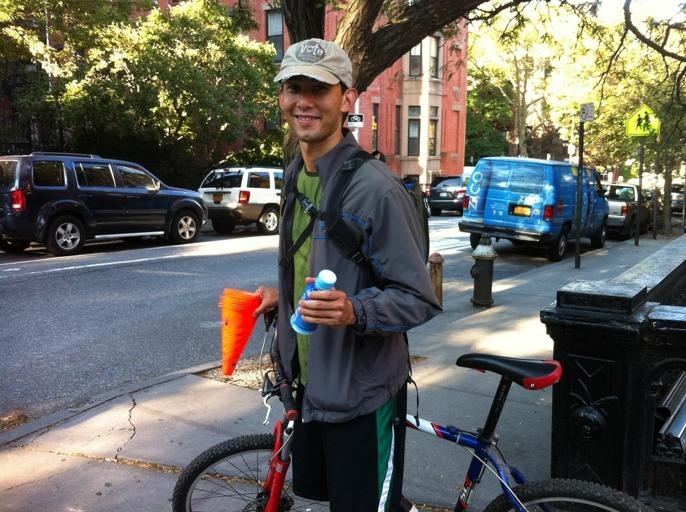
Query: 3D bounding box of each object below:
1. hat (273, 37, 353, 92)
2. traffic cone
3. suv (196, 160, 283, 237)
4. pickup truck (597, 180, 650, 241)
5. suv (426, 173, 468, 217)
[{"bbox_3d":[-0.131,-0.834,2.466,0.312,0.234,0.441,8,10,21],"label":"hat"},{"bbox_3d":[-0.496,0.361,2.858,0.323,0.557,0.313,6,1,-22],"label":"traffic cone"},{"bbox_3d":[-2.456,-1.968,19.081,2.555,2.233,4.805,5,9,32],"label":"suv"},{"bbox_3d":[10.437,-1.817,21.392,1.992,1.849,4.182,12,14,42],"label":"pickup truck"},{"bbox_3d":[4.735,-2.687,25.576,1.572,1.606,3.032,2,16,21],"label":"suv"}]
